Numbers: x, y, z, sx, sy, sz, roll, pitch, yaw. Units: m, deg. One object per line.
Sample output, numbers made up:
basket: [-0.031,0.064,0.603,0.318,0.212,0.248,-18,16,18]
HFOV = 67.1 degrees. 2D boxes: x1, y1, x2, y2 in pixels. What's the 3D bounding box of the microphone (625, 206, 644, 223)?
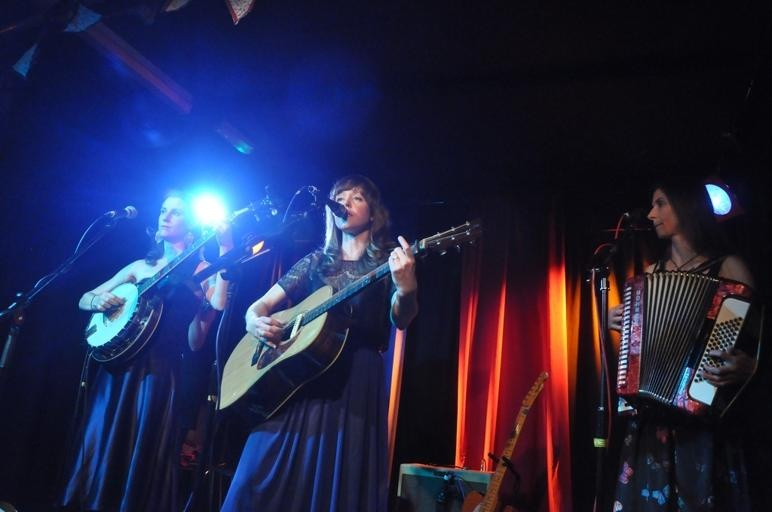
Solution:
microphone: [1.979,-0.320,4.630,0.090,0.138,0.133,6,11,25]
